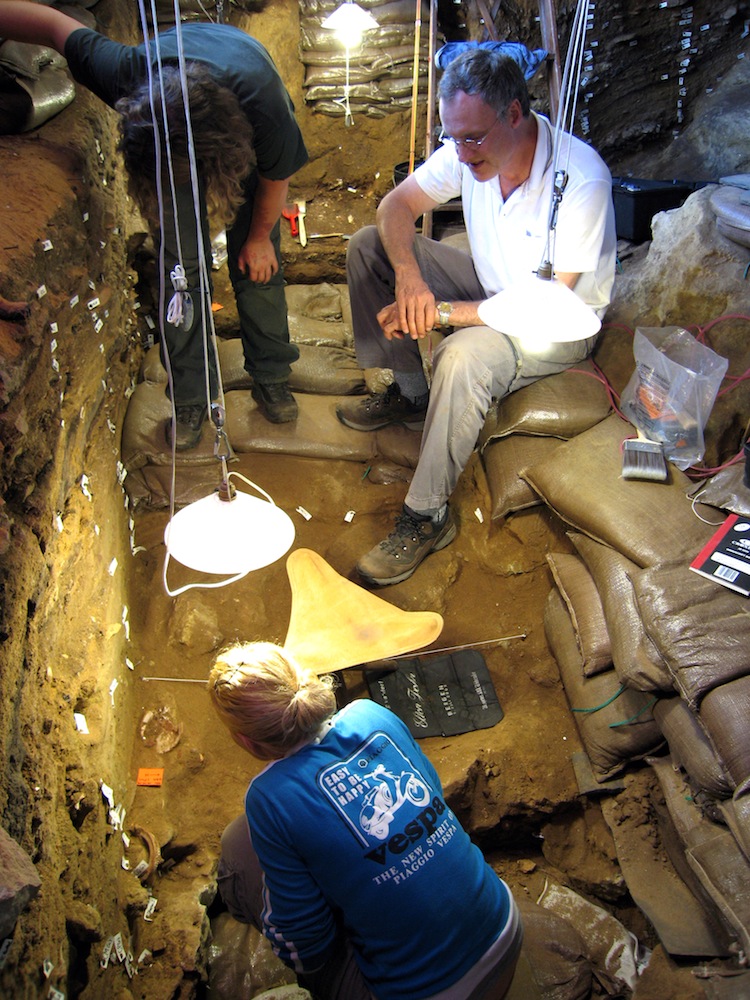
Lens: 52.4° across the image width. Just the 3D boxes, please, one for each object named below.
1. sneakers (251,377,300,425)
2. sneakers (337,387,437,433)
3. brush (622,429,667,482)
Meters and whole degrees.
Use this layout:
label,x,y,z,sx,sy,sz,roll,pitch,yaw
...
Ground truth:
label,x,y,z,sx,sy,sz,roll,pitch,yaw
sneakers,-0.505,-0.489,3.894,0.149,0.176,0.288,-27,69,-25
sneakers,0.051,-0.451,3.987,0.503,0.232,0.187,-4,62,-5
brush,1.104,-0.160,3.109,0.187,0.131,0.186,7,23,16
